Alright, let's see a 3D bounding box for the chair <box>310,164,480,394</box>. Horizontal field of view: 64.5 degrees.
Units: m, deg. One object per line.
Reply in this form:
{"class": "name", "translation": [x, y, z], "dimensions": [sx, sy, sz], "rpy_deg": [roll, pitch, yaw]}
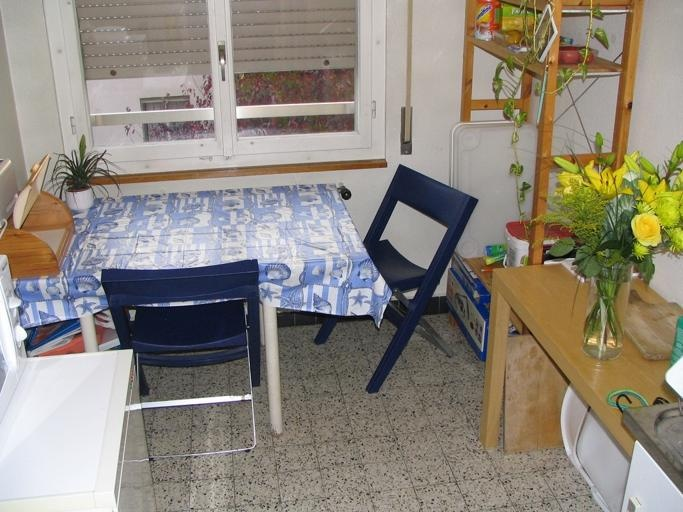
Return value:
{"class": "chair", "translation": [0.270, 0.120, 3.050], "dimensions": [0.656, 1.049, 0.646], "rpy_deg": [-15, 31, -26]}

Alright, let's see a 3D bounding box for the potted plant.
{"class": "potted plant", "translation": [-1.416, -0.445, 2.940], "dimensions": [0.324, 0.340, 0.397], "rpy_deg": [-2, 20, -3]}

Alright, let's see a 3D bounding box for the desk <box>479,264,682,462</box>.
{"class": "desk", "translation": [0.899, 0.384, 2.023], "dimensions": [0.357, 0.588, 0.694], "rpy_deg": [-1, 34, -1]}

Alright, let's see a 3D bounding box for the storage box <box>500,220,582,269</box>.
{"class": "storage box", "translation": [1.013, -0.078, 2.749], "dimensions": [0.279, 0.223, 0.286], "rpy_deg": [-4, 36, 2]}

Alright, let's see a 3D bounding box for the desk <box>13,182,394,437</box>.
{"class": "desk", "translation": [-0.526, 0.538, 2.929], "dimensions": [1.560, 0.833, 1.134], "rpy_deg": [-2, 33, -2]}

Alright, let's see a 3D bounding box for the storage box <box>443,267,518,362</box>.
{"class": "storage box", "translation": [0.853, 0.303, 3.189], "dimensions": [0.323, 0.291, 0.588], "rpy_deg": [-10, 28, -10]}

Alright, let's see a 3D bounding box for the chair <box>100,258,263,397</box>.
{"class": "chair", "translation": [-0.650, 0.175, 2.382], "dimensions": [0.538, 0.810, 0.648], "rpy_deg": [-1, 53, -7]}
